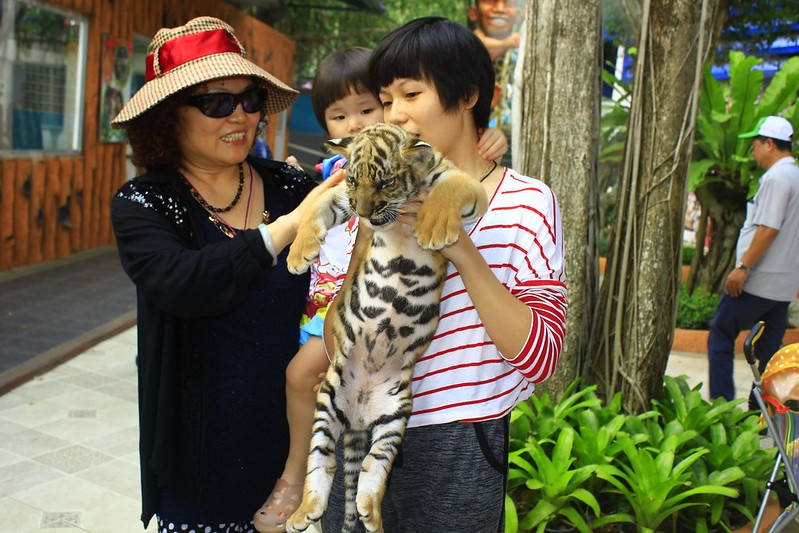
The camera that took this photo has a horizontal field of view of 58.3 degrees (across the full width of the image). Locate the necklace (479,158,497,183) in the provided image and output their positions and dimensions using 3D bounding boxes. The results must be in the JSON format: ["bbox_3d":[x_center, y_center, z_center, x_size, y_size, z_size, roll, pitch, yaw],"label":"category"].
[{"bbox_3d":[0.528,-0.566,4.215,0.006,0.132,0.097,37,-7,-31],"label":"necklace"}]

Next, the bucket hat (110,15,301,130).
[{"bbox_3d":[-1.271,-1.259,4.462,0.846,0.435,0.864,-20,-4,4],"label":"bucket hat"}]

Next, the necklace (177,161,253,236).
[{"bbox_3d":[-1.134,-0.403,4.522,0.326,0.458,0.079,-21,4,-22],"label":"necklace"}]
